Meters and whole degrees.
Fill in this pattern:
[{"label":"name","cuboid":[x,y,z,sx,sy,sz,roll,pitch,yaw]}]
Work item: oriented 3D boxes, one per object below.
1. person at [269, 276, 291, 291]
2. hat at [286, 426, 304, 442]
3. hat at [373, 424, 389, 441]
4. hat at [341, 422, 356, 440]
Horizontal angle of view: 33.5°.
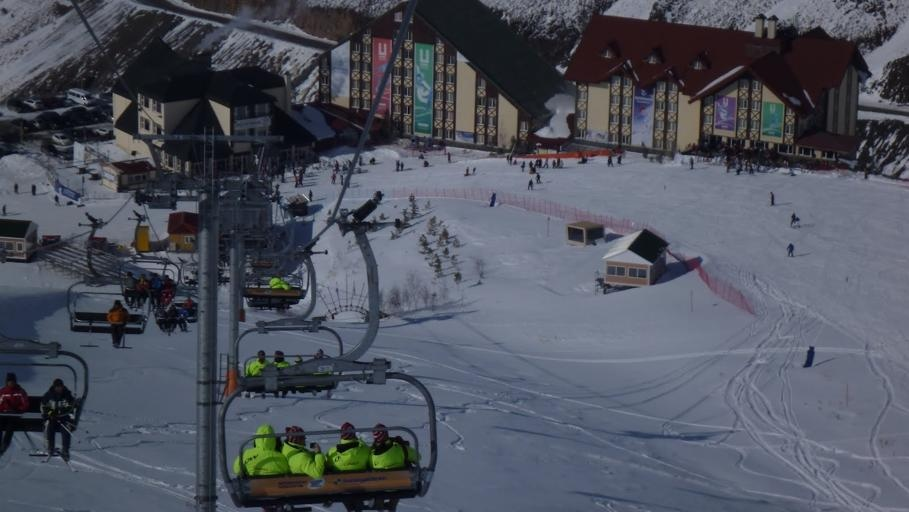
[{"label":"person","cuboid":[-10.060,1.625,87.967,1.004,0.498,0.783,5,2,-26]},{"label":"hat","cuboid":[-7.684,8.728,73.440,0.947,0.824,0.709,-1,8,-16]},{"label":"hat","cuboid":[-3.553,8.548,73.114,0.709,0.813,1.181,3,3,-3]},{"label":"hat","cuboid":[-5.121,8.507,73.079,0.626,0.730,0.792,3,3,-5]}]
